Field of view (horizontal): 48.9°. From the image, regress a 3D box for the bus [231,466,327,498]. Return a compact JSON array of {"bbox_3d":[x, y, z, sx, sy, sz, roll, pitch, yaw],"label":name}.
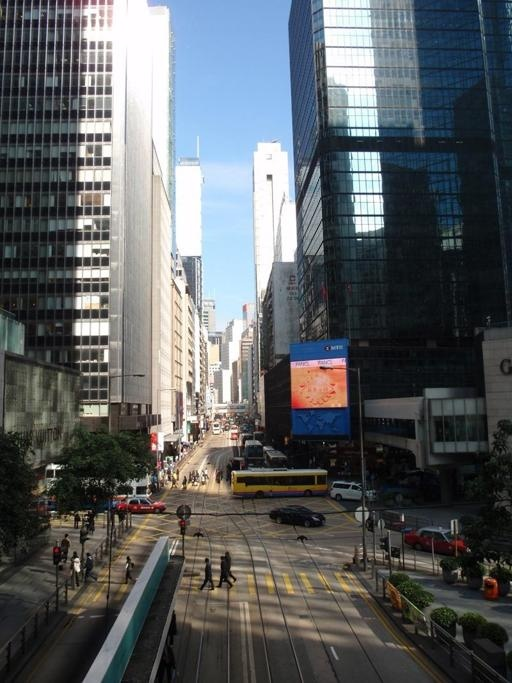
[{"bbox_3d":[2.216,14.837,55.503,9.690,3.660,3.688,-1,-2,-2],"label":"bus"}]
